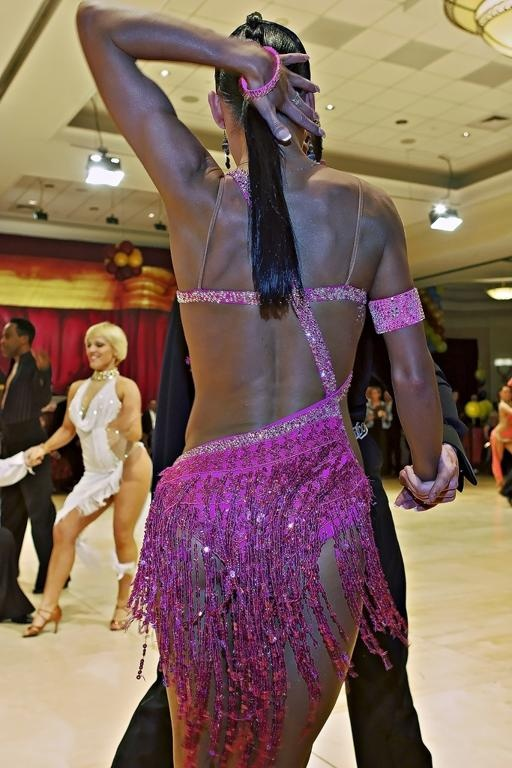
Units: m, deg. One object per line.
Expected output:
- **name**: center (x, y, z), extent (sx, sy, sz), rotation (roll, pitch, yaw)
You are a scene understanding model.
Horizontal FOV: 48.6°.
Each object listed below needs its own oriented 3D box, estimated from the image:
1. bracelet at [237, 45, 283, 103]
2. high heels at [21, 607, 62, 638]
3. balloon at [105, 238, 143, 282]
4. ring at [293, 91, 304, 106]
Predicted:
- **bracelet**: center (0.016, -0.440, 0.827), extent (0.021, 0.078, 0.063), rotation (24, 4, -3)
- **high heels**: center (-1.415, 1.548, 3.748), extent (0.226, 0.165, 0.259), rotation (1, -6, -22)
- **balloon**: center (-2.371, -2.159, 10.192), extent (0.685, 0.680, 0.296), rotation (6, -4, 3)
- **ring**: center (0.068, -0.448, 0.893), extent (0.013, 0.016, 0.037), rotation (-13, 31, 17)
